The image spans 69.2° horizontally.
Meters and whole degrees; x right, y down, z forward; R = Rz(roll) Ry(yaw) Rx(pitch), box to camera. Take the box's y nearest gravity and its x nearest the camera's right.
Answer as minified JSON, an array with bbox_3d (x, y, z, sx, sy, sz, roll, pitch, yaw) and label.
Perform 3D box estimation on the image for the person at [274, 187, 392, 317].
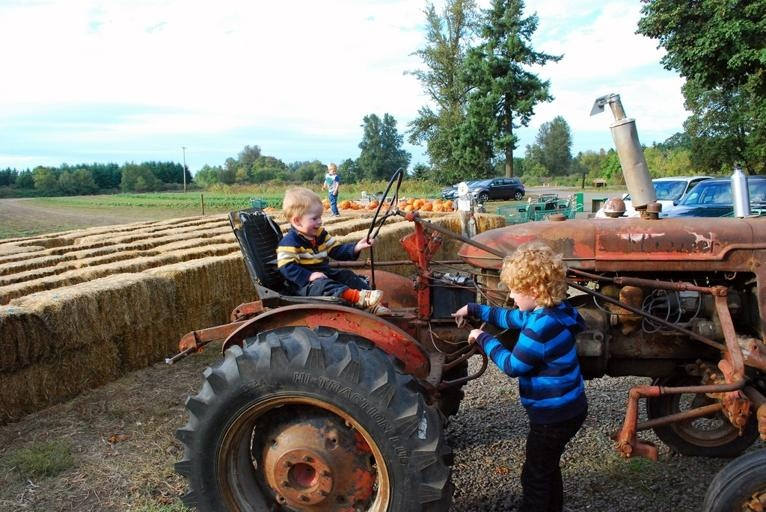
[{"bbox_3d":[-0.380,0.005,4.480,0.885,1.045,0.676,9,16,25],"label":"person"}]
